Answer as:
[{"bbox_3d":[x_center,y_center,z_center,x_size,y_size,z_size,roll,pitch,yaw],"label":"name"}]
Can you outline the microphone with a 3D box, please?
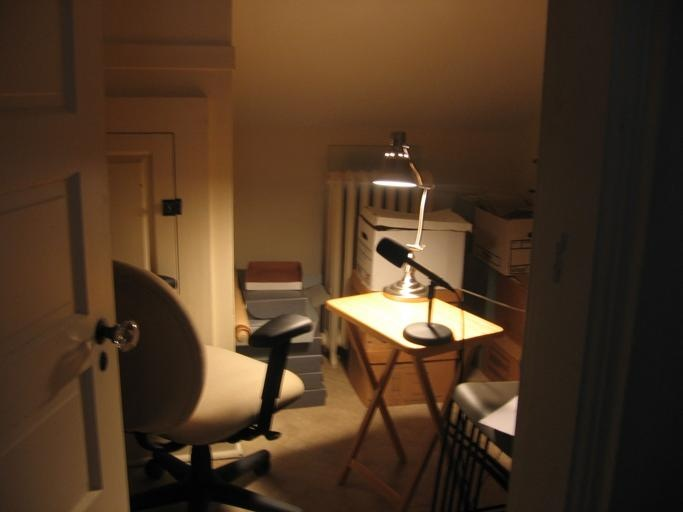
[{"bbox_3d":[0.304,0.030,2.410,0.306,0.083,0.078,31,-20,12],"label":"microphone"}]
